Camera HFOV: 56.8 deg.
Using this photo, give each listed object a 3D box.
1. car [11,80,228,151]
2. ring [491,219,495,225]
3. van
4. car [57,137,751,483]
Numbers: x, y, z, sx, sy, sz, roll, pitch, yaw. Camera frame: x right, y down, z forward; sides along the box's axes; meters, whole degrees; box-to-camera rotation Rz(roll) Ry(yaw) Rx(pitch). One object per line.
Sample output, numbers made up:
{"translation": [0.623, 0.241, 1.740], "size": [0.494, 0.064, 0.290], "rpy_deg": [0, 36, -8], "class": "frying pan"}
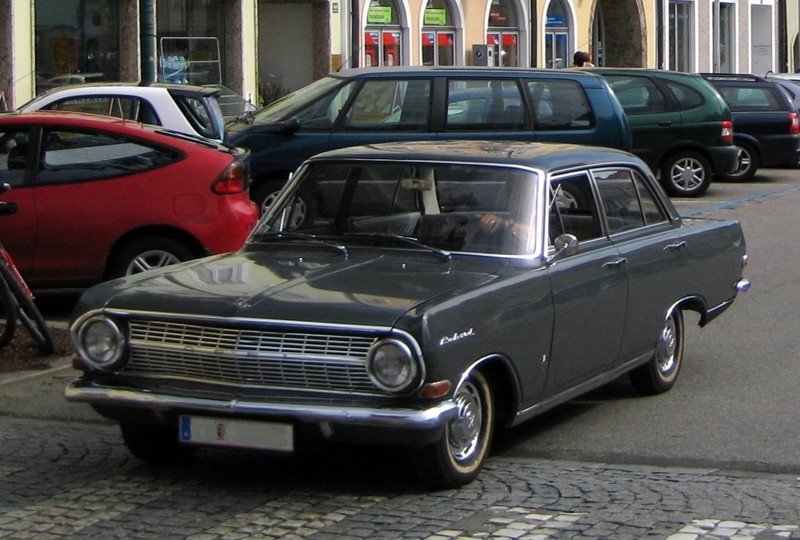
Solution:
{"translation": [-3.902, -2.355, 10.562], "size": [2.625, 1.015, 1.337], "rpy_deg": [5, 10, 4], "class": "car"}
{"translation": [0.588, -0.299, 4.722], "size": [0.034, 0.030, 0.009], "rpy_deg": [5, -22, 4], "class": "ring"}
{"translation": [0.377, -1.938, 11.891], "size": [5.938, 1.746, 2.505], "rpy_deg": [0, 5, -4], "class": "van"}
{"translation": [0.437, 0.146, 4.998], "size": [2.139, 1.230, 3.982], "rpy_deg": [4, 7, 38], "class": "car"}
